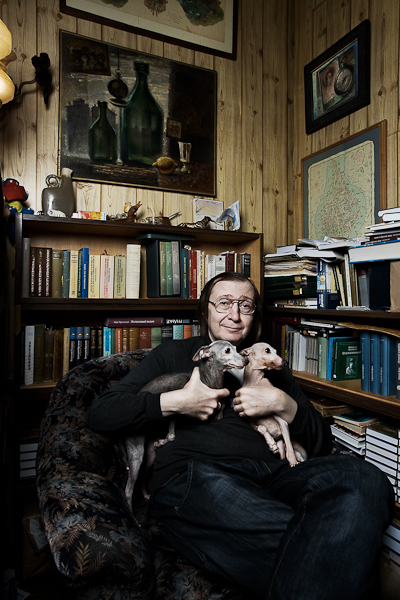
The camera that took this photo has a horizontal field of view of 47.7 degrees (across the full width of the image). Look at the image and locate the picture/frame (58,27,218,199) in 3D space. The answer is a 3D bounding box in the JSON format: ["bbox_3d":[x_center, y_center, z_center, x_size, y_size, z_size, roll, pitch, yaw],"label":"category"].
[{"bbox_3d":[-0.372,-1.024,2.478,1.051,0.901,0.045,-1,2,-33],"label":"picture/frame"}]

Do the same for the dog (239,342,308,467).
[{"bbox_3d":[0.226,0.340,1.436,0.082,0.331,0.165,-20,-6,26],"label":"dog"}]

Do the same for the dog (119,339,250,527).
[{"bbox_3d":[-0.052,0.375,1.385,0.524,0.360,0.169,-31,-28,25],"label":"dog"}]

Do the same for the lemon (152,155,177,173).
[{"bbox_3d":[-0.195,-0.754,2.518,0.112,0.078,0.082,-5,-23,-29],"label":"lemon"}]
